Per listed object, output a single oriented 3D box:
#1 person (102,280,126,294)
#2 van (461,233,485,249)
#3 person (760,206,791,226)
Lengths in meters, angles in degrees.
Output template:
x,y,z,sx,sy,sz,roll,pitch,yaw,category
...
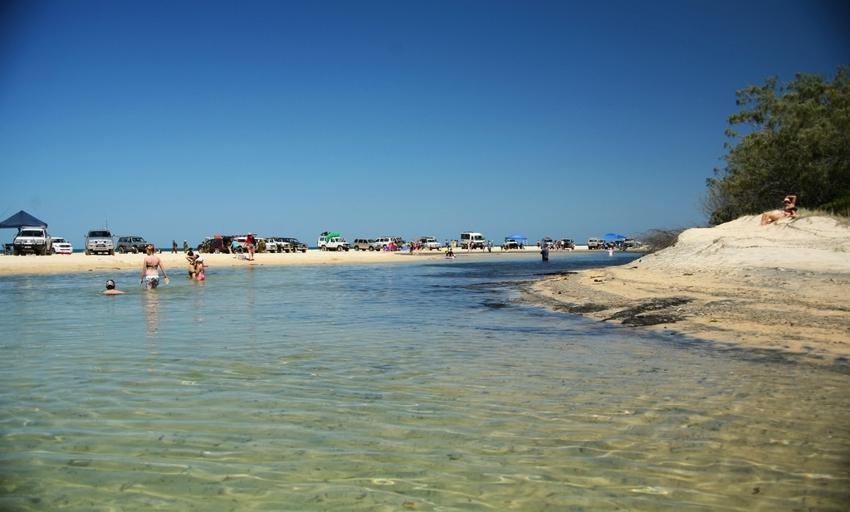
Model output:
x,y,z,sx,sy,sz,roll,pitch,yaw,category
-15.451,1.542,29.999,0.860,0.661,1.011,-1,-1,-22,person
10.176,-3.123,117.802,4.873,3.133,6.565,-1,0,-17,van
22.129,-2.451,38.082,1.311,0.955,1.992,-2,-1,-9,person
